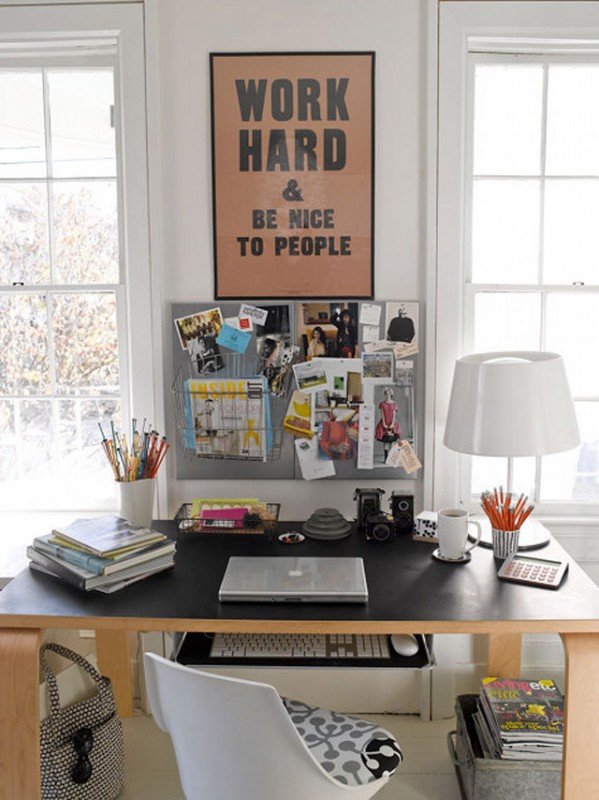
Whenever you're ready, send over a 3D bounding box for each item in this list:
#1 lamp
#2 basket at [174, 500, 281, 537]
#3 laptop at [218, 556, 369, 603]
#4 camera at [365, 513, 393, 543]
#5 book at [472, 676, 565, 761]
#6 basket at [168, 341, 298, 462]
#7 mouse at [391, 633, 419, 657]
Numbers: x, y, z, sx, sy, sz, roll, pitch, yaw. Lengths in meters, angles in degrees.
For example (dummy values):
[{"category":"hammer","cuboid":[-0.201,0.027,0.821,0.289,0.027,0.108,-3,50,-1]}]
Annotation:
[{"category":"lamp","cuboid":[0.554,0.156,1.929,0.333,0.523,0.347,-6,-3,-10]},{"category":"basket","cuboid":[-0.209,0.329,2.011,0.208,0.058,0.128,1,8,1]},{"category":"laptop","cuboid":[-0.014,0.420,1.638,0.435,0.016,0.313,0,5,3]},{"category":"camera","cuboid":[0.223,0.354,1.931,0.053,0.053,0.078,-1,0,3]},{"category":"book","cuboid":[0.570,0.817,1.843,0.157,0.075,0.220,1,10,2]},{"category":"basket","cuboid":[-0.227,-0.022,2.342,0.359,0.335,0.368,2,8,0]},{"category":"mouse","cuboid":[0.287,0.667,1.937,0.040,0.016,0.063,-3,16,-5]}]
